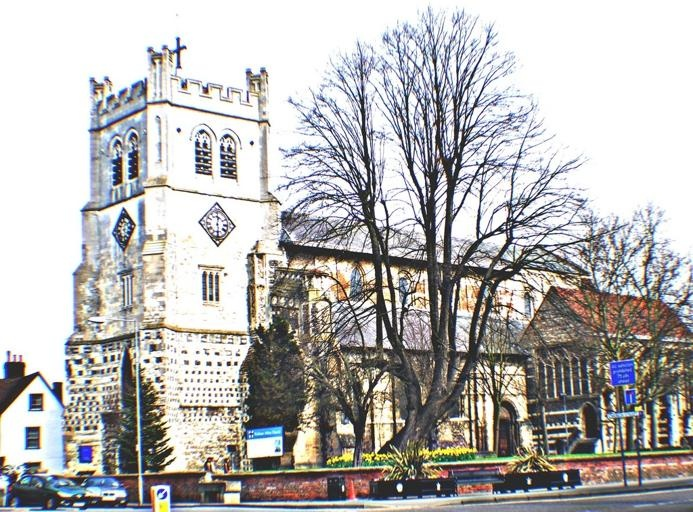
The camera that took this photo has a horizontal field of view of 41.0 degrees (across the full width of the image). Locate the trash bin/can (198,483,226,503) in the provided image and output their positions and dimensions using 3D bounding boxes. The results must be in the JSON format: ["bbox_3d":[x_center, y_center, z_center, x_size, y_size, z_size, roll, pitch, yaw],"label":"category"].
[{"bbox_3d":[-7.049,12.260,48.324,1.094,1.159,1.173,2,-16,-8],"label":"trash bin/can"}]

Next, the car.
[{"bbox_3d":[-15.011,12.545,49.595,6.138,2.041,2.946,-5,-15,5],"label":"car"}]

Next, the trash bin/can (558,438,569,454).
[{"bbox_3d":[17.650,15.826,76.572,0.775,1.600,0.854,-3,-11,25],"label":"trash bin/can"}]
